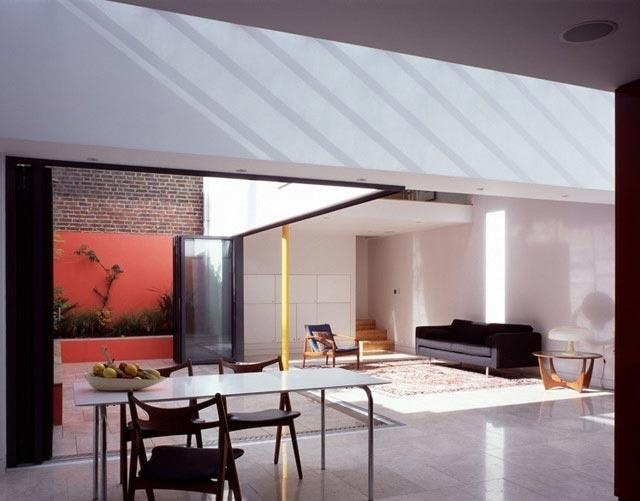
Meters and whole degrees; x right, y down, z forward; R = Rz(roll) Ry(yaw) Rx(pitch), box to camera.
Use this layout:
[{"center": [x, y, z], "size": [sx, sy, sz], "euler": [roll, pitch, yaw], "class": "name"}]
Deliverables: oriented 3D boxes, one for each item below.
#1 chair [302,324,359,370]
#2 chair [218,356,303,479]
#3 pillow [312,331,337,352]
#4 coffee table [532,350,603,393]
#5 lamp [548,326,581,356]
[{"center": [0.227, 1.963, 10.898], "size": [0.753, 0.866, 0.958], "euler": [5, -8, -43], "class": "chair"}, {"center": [-0.560, 1.520, 4.848], "size": [0.726, 1.116, 0.733], "euler": [3, -10, -36], "class": "chair"}, {"center": [0.095, 1.822, 10.649], "size": [0.265, 0.380, 0.862], "euler": [1, -2, -26], "class": "pillow"}, {"center": [4.021, 1.896, 8.653], "size": [0.900, 0.620, 1.361], "euler": [0, -2, 27], "class": "coffee table"}, {"center": [3.759, 1.357, 8.369], "size": [0.539, 0.452, 0.556], "euler": [-4, -2, 33], "class": "lamp"}]
